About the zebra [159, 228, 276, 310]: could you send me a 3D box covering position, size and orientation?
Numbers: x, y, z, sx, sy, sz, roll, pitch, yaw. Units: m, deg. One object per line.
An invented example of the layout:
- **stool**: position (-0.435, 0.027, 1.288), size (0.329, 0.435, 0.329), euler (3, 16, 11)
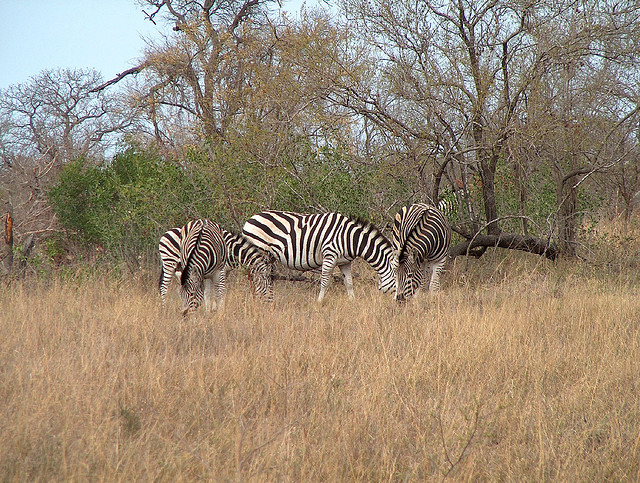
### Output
- **zebra**: position (-2.000, 0.432, 14.805), size (2.489, 1.637, 0.752), euler (-4, 13, 32)

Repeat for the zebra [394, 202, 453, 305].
- **zebra**: position (1.772, 0.175, 14.536), size (0.785, 1.843, 1.898), euler (0, -3, 22)

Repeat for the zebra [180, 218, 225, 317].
- **zebra**: position (-2.029, 0.423, 13.676), size (0.462, 1.656, 1.205), euler (0, -3, 20)
